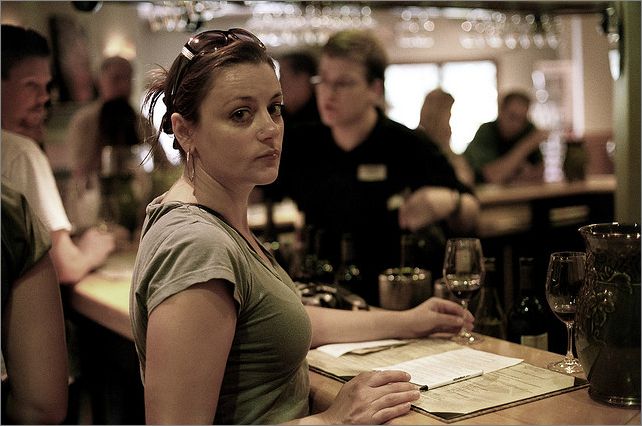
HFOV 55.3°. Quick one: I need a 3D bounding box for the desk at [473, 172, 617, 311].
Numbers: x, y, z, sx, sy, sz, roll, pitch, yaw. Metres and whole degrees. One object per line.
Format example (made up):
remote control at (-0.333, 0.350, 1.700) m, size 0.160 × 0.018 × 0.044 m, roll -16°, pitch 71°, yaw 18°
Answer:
desk at (1.145, 0.113, 3.301) m, size 0.797 × 0.778 × 0.433 m, roll -2°, pitch 2°, yaw -25°
